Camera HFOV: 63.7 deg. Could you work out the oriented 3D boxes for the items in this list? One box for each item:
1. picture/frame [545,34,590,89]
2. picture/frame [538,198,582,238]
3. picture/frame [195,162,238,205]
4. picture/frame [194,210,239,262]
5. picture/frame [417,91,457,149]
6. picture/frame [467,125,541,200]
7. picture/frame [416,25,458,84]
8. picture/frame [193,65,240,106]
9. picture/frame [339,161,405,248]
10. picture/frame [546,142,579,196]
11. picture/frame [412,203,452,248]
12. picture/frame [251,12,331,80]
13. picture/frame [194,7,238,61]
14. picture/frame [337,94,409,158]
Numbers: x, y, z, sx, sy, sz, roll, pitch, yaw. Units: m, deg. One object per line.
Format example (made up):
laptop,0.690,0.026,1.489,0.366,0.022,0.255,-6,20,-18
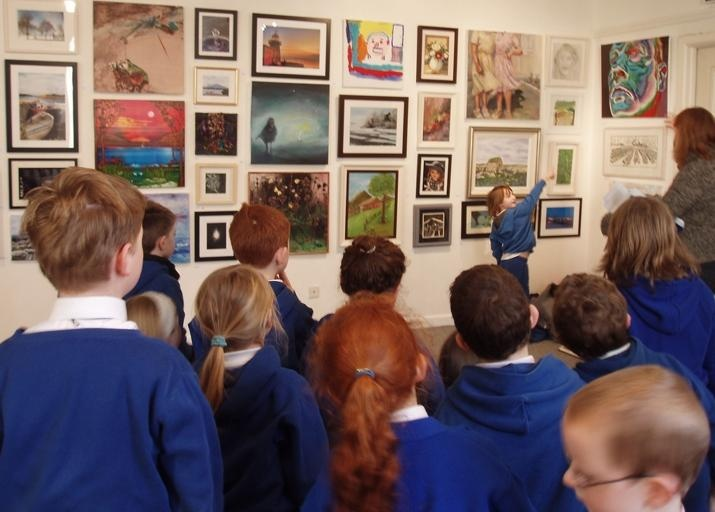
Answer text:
picture/frame,2.275,-2.113,6.317,0.513,0.536,0.054,-1,5,-11
picture/frame,2.270,-0.445,6.538,0.403,0.368,0.032,-4,8,-21
picture/frame,-1.318,-0.678,5.293,0.360,0.394,0.028,-1,4,-22
picture/frame,-1.259,-0.191,5.044,0.418,0.520,0.036,-2,3,-16
picture/frame,0.786,-1.411,5.863,0.523,0.664,0.046,-4,11,-18
picture/frame,1.526,-1.020,6.141,0.756,0.693,0.058,-2,7,-18
picture/frame,0.773,-2.043,5.765,0.525,0.669,0.043,-4,10,-23
picture/frame,-1.290,-1.543,5.167,0.345,0.313,0.023,-1,4,-20
picture/frame,0.104,-0.534,5.515,0.757,0.964,0.041,-4,11,-18
picture/frame,2.279,-0.999,6.461,0.535,0.836,0.078,-3,4,-29
picture/frame,0.758,-0.332,6.015,0.418,0.459,0.049,-2,5,-24
picture/frame,-0.647,-1.953,5.313,0.607,0.473,0.023,-2,8,-16
picture/frame,-1.275,-1.983,5.104,0.430,0.531,0.039,-2,7,-16
picture/frame,0.119,-1.301,5.651,0.591,0.534,0.046,-1,6,-18
